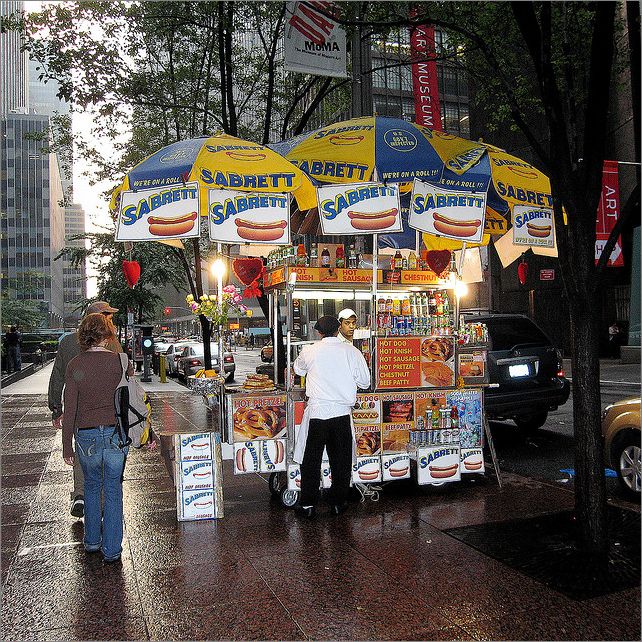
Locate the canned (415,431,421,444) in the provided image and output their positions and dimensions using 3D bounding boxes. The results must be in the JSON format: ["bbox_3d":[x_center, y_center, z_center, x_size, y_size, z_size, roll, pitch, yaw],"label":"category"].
[{"bbox_3d":[1.054,1.273,7.382,0.067,0.136,0.042,-4,3,-42],"label":"canned"}]

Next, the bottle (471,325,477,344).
[{"bbox_3d":[1.791,0.162,7.965,0.067,0.188,0.127,-2,2,14],"label":"bottle"}]

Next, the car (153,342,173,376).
[{"bbox_3d":[-8.062,1.970,34.227,1.183,1.430,3.027,0,4,-12],"label":"car"}]

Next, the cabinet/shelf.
[{"bbox_3d":[0.678,0.373,8.126,1.840,1.405,1.105,-3,-20,6],"label":"cabinet/shelf"}]

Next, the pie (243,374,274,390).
[{"bbox_3d":[-0.674,0.664,7.336,0.338,0.169,0.440,-3,3,-7],"label":"pie"}]

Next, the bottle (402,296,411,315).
[{"bbox_3d":[0.959,-0.152,7.596,0.139,0.186,0.077,-4,3,-40],"label":"bottle"}]

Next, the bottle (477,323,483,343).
[{"bbox_3d":[1.869,0.143,8.018,0.078,0.189,0.209,-2,3,12],"label":"bottle"}]

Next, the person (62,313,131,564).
[{"bbox_3d":[-1.882,0.955,5.669,0.516,1.389,0.413,-2,2,12],"label":"person"}]

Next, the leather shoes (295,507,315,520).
[{"bbox_3d":[-0.154,1.846,6.556,0.076,0.102,0.209,0,8,-44],"label":"leather shoes"}]

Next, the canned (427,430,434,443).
[{"bbox_3d":[1.190,1.270,7.424,0.054,0.139,0.086,0,3,41],"label":"canned"}]

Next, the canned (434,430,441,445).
[{"bbox_3d":[1.268,1.271,7.442,0.099,0.151,0.052,-4,3,-38],"label":"canned"}]

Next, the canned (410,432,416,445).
[{"bbox_3d":[1.003,1.277,7.404,0.039,0.137,0.103,-4,3,-35],"label":"canned"}]

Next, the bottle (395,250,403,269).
[{"bbox_3d":[0.931,-0.719,8.186,0.109,0.221,0.373,-2,3,7],"label":"bottle"}]

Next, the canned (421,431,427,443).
[{"bbox_3d":[1.116,1.272,7.408,0.088,0.130,0.049,-3,2,-13],"label":"canned"}]

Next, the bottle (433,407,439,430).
[{"bbox_3d":[1.262,1.070,7.506,0.073,0.229,0.082,-2,2,10],"label":"bottle"}]

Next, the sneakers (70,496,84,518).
[{"bbox_3d":[-2.385,1.812,6.620,0.119,0.157,0.352,9,-21,-18],"label":"sneakers"}]

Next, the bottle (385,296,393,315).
[{"bbox_3d":[0.757,-0.158,7.547,0.093,0.160,0.069,-2,2,5],"label":"bottle"}]

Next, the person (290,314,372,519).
[{"bbox_3d":[0.086,0.922,6.644,0.723,1.912,0.379,-2,2,2],"label":"person"}]

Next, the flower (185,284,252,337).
[{"bbox_3d":[-2.032,-0.209,13.202,1.249,1.065,1.398,2,8,2],"label":"flower"}]

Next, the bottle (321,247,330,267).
[{"bbox_3d":[0.045,-0.710,7.725,0.104,0.229,0.255,-2,3,0],"label":"bottle"}]

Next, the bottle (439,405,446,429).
[{"bbox_3d":[1.334,1.071,7.507,0.081,0.230,0.060,-2,2,-6],"label":"bottle"}]

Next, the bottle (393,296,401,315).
[{"bbox_3d":[0.861,-0.155,7.590,0.067,0.176,0.192,-1,3,24],"label":"bottle"}]

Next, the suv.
[{"bbox_3d":[2.925,0.672,10.385,1.013,1.287,2.570,-1,3,-12],"label":"suv"}]

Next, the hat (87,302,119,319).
[{"bbox_3d":[-2.046,-0.111,6.353,0.217,0.133,0.163,-3,6,-27],"label":"hat"}]

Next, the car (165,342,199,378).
[{"bbox_3d":[-6.528,1.822,30.384,1.117,1.039,2.819,-1,5,-14],"label":"car"}]
